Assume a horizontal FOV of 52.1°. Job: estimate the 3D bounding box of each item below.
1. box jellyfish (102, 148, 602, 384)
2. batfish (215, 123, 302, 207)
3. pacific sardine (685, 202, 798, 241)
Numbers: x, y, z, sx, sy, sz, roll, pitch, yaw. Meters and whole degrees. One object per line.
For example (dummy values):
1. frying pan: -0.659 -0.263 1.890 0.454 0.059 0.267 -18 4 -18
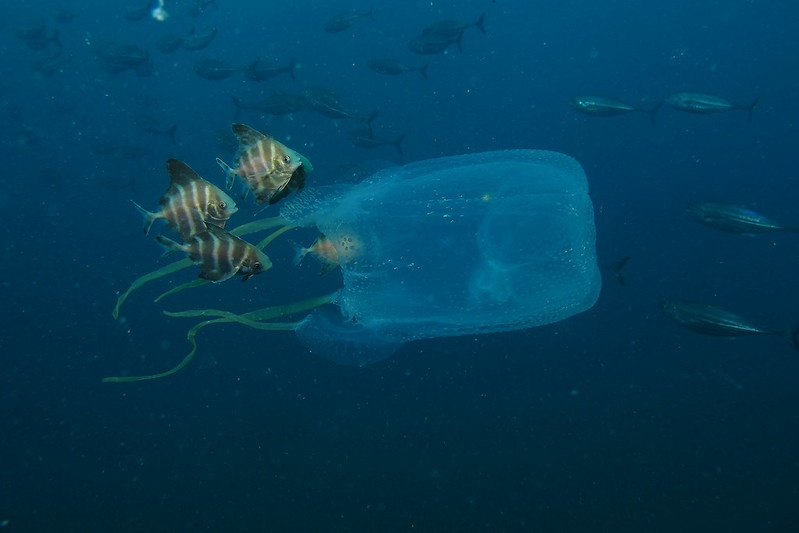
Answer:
1. box jellyfish: -0.161 -0.065 9.866 6.171 2.389 1.610 -6 3 1
2. batfish: -1.266 -0.935 7.417 0.870 0.725 0.249 -5 9 18
3. pacific sardine: 3.703 -0.476 8.922 1.041 0.474 0.227 -1 40 13
